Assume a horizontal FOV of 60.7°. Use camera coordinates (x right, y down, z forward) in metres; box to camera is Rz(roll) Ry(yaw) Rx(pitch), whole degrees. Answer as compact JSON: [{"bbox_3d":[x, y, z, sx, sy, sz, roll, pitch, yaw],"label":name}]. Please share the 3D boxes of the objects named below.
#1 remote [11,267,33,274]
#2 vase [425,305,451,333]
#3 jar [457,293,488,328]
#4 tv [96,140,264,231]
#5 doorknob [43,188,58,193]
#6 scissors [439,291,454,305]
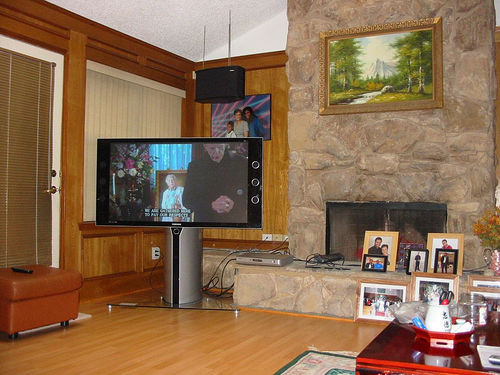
[{"bbox_3d":[-1.913,0.704,3.606,0.272,0.035,0.105,-2,-3,35],"label":"remote"},{"bbox_3d":[0.927,0.651,2.102,0.130,0.124,0.094,-3,-7,26],"label":"vase"},{"bbox_3d":[1.228,0.667,2.377,0.110,0.171,0.180,2,-1,25],"label":"jar"},{"bbox_3d":[-0.718,-0.038,4.374,1.748,0.934,0.113,0,-1,6],"label":"tv"},{"bbox_3d":[-2.029,0.043,4.363,0.028,0.030,0.188,-5,-2,44],"label":"doorknob"},{"bbox_3d":[1.012,0.573,2.210,0.053,0.022,0.094,18,26,10],"label":"scissors"}]
